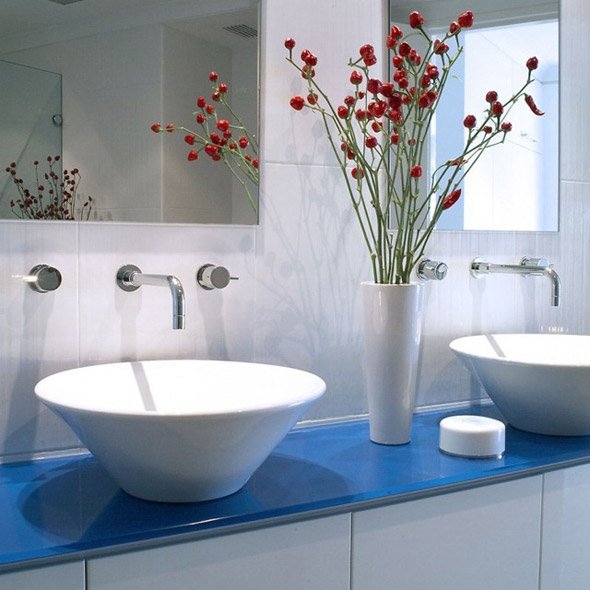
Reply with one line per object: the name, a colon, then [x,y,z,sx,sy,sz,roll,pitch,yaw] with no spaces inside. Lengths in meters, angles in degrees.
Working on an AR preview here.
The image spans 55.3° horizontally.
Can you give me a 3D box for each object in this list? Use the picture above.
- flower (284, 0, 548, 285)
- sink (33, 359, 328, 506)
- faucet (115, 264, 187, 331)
flower: [0.283,-0.343,1.570,0.578,0.918,0.685,2,-1,-35]
sink: [-0.194,0.235,0.971,0.486,0.184,0.423,1,4,5]
faucet: [-0.284,-0.002,1.125,0.172,0.112,0.058,10,15,37]
